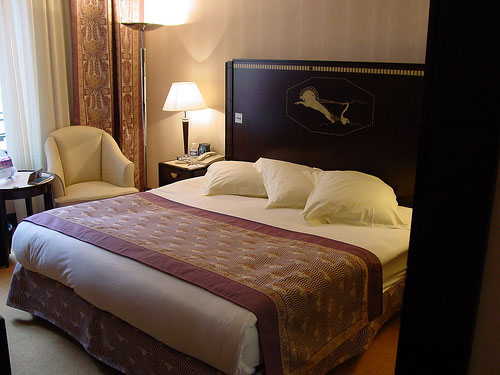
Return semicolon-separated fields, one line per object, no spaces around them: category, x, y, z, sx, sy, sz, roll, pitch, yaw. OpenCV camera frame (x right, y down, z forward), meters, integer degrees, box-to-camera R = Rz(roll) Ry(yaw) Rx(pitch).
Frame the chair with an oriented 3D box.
chair;-1.773;-0.273;4.197;0.839;1.115;0.935;-9;20;-35

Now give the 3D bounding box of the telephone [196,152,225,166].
telephone;-0.468;-0.341;4.480;0.185;0.094;0.235;15;20;42

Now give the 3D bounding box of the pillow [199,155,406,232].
pillow;0.436;0.018;3.220;1.657;0.335;0.685;10;17;33

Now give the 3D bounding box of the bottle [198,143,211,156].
bottle;-0.544;-0.447;4.568;0.108;0.206;0.105;13;8;-2
